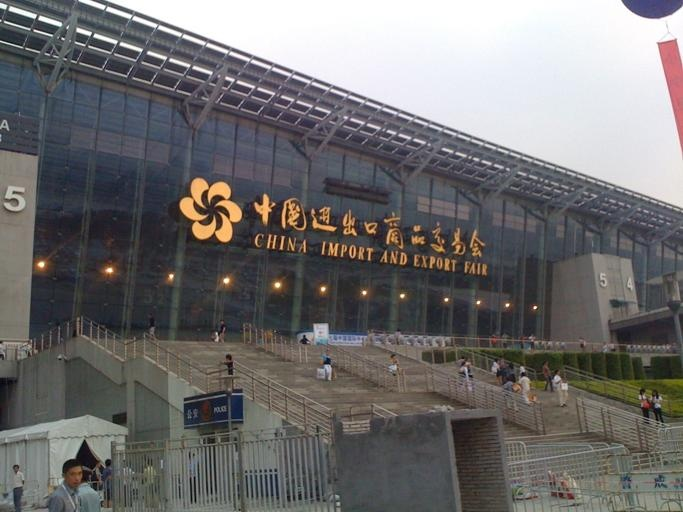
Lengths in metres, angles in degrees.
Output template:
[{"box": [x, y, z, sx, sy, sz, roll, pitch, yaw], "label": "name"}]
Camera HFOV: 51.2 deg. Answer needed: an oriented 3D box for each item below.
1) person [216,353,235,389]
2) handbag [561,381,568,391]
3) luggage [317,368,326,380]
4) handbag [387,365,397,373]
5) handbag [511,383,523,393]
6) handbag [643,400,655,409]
[{"box": [-3.847, 3.897, 24.176, 0.580, 1.151, 0.616, -11, -12, 38], "label": "person"}, {"box": [10.553, 6.139, 33.761, 0.279, 0.438, 0.382, 6, -15, -25], "label": "handbag"}, {"box": [-0.872, 5.320, 32.289, 0.350, 0.548, 0.510, 9, -15, -30], "label": "luggage"}, {"box": [2.329, 5.107, 32.610, 0.400, 0.431, 0.489, -4, -19, 3], "label": "handbag"}, {"box": [7.746, 5.892, 31.459, 0.135, 0.544, 0.484, 25, -50, -22], "label": "handbag"}, {"box": [14.027, 6.726, 32.457, 0.387, 0.444, 0.561, 1, -19, 11], "label": "handbag"}]
